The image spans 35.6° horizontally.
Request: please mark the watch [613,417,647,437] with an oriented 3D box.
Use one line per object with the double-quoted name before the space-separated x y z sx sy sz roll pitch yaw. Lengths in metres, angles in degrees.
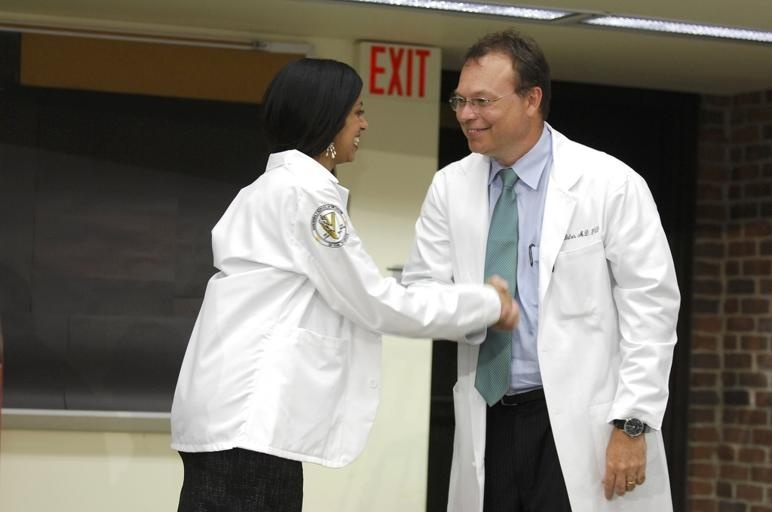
"watch" 1.197 0.832 5.909 0.110 0.062 0.110 4 6 6
